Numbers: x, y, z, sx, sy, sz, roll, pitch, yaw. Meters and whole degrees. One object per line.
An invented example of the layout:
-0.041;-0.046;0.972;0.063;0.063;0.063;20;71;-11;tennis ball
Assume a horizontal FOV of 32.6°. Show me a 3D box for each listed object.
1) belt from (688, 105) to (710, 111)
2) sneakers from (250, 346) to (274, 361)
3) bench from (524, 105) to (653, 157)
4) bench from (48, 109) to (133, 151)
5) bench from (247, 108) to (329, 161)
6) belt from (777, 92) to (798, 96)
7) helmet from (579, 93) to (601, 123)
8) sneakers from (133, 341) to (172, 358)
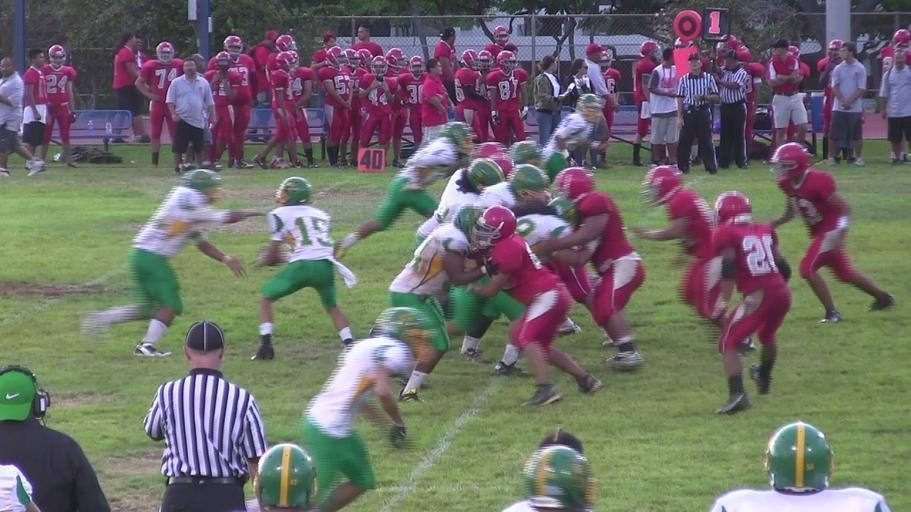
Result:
5.115;-3.110;32.508;0.406;0.116;0.064;-1;5;5;belt
-3.071;1.593;25.109;0.446;0.255;0.146;5;3;2;sneakers
2.849;-2.604;32.371;2.757;0.697;0.811;5;-32;4;bench
-8.550;-2.900;37.061;2.389;0.892;1.009;3;-19;28;bench
-3.736;-2.783;35.368;1.682;0.905;0.537;0;4;-4;bench
7.154;-3.466;33.319;0.385;0.063;0.091;-2;5;-3;belt
2.383;-2.582;27.386;0.401;0.487;0.349;-2;5;2;helmet
-4.817;1.502;25.141;0.709;0.268;0.218;0;19;-9;sneakers
